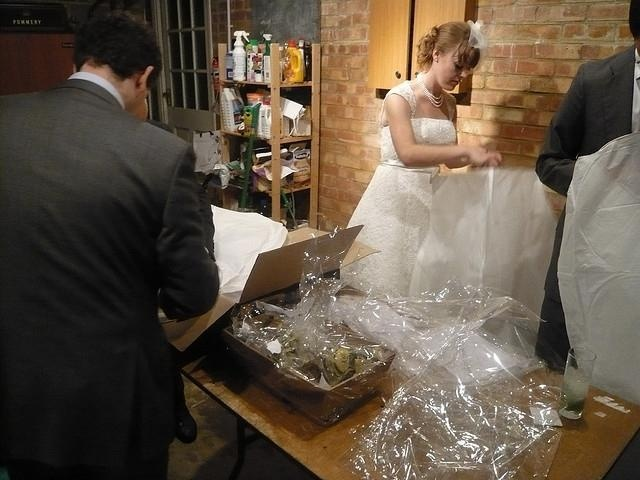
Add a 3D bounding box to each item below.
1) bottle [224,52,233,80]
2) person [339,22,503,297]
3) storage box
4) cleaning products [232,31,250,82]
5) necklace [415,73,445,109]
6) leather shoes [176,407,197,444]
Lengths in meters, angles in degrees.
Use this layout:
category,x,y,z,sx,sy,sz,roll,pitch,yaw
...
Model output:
category,x,y,z,sx,sy,sz,roll,pitch,yaw
bottle,-0.793,-1.507,3.996,0.039,0.217,0.182,-11,22,-25
person,0.539,-0.407,2.577,0.736,1.470,0.578,0,20,3
storage box,-0.162,0.133,1.573,0.501,0.186,0.488,-24,15,-32
cleaning products,-0.662,-1.567,3.940,0.144,0.403,0.265,6,21,18
necklace,0.614,-0.830,2.565,0.178,0.185,0.093,-1,20,-1
leather shoes,-0.489,0.697,1.746,0.074,0.130,0.125,-5,-3,-18
